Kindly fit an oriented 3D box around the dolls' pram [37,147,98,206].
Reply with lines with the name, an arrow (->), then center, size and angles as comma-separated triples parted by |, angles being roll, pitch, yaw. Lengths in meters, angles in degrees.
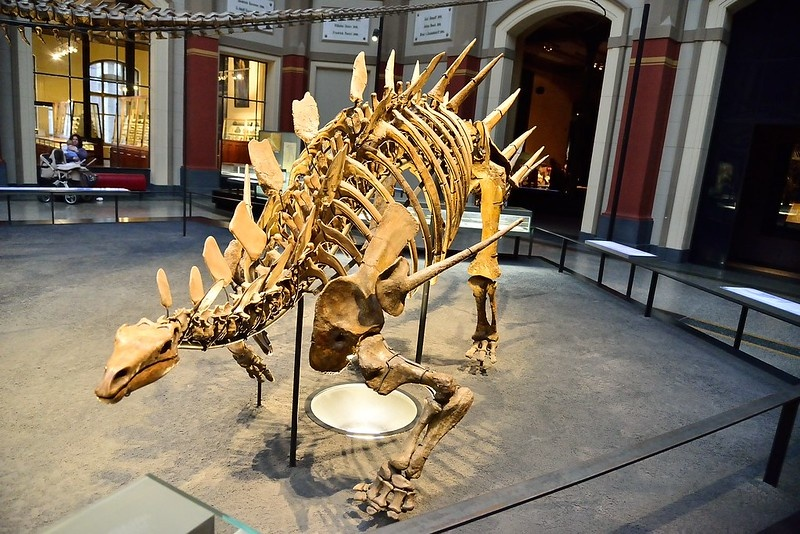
dolls' pram -> -9.239, -2.609, 14.974 | 1.640, 1.629, 1.427 | 3, 9, -20
